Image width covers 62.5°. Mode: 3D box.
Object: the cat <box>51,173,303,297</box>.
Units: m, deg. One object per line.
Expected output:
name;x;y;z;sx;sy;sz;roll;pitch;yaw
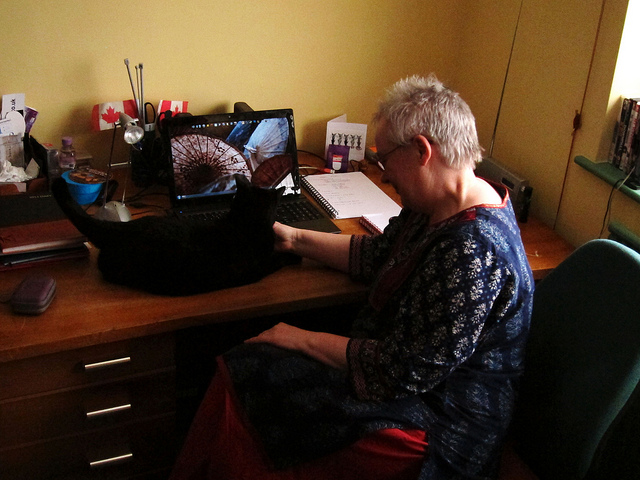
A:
cat;-0.372;-0.091;1.732;0.854;0.460;0.306;-5;18;-22

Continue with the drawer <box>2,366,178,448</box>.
drawer;-0.672;0.474;1.519;0.319;0.153;0.229;-8;16;-26

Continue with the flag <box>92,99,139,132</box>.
flag;-0.792;-0.469;2.030;0.177;0.116;0.079;-9;28;-16

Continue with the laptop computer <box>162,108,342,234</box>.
laptop computer;-0.270;-0.236;1.797;0.500;0.338;0.448;-7;22;-17
